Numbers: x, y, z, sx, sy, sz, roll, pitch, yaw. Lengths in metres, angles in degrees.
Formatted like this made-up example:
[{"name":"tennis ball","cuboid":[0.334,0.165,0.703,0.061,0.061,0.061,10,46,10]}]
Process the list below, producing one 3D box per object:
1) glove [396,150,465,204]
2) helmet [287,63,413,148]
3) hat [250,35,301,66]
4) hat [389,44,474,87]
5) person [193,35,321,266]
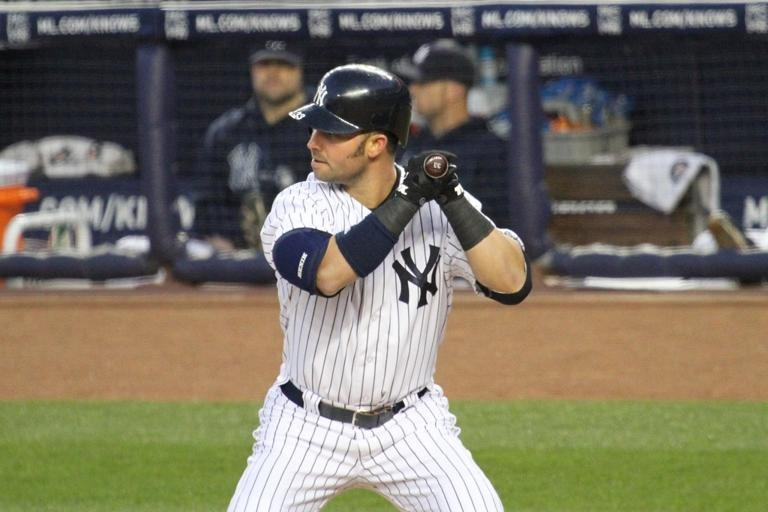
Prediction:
[{"name":"glove","cuboid":[0.261,-0.438,8.570,0.283,0.314,0.144,5,23,2]},{"name":"helmet","cuboid":[-0.189,-0.858,8.835,0.602,0.307,0.436,11,6,-13]},{"name":"hat","cuboid":[-0.856,-1.605,12.191,0.420,0.184,0.079,-1,7,-5]},{"name":"hat","cuboid":[0.392,-1.530,12.172,0.544,0.271,0.341,15,9,4]},{"name":"person","cuboid":[-0.811,-0.775,12.214,1.281,1.902,0.589,-8,-31,0]}]
